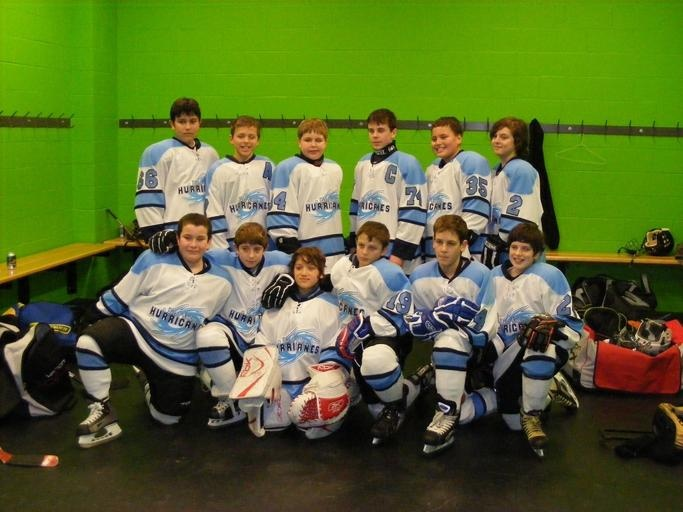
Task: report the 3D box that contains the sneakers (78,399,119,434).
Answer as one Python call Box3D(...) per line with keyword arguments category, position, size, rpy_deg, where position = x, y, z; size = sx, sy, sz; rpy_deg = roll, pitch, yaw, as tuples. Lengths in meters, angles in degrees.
Box3D(category="sneakers", position=(-1.485, 0.985, 3.774), size=(0.096, 0.165, 0.287), rpy_deg=(-10, 1, 25))

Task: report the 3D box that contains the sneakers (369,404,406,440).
Box3D(category="sneakers", position=(0.304, 1.043, 3.923), size=(0.111, 0.157, 0.342), rpy_deg=(5, 6, 18))

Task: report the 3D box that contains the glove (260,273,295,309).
Box3D(category="glove", position=(-0.455, 0.176, 4.165), size=(0.183, 0.117, 0.299), rpy_deg=(8, 53, -7))

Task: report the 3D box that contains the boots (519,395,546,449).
Box3D(category="boots", position=(1.184, 1.058, 3.822), size=(0.119, 0.213, 0.305), rpy_deg=(2, 12, 6))

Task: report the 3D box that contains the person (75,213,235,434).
Box3D(category="person", position=(-1.193, 0.490, 3.947), size=(0.980, 1.195, 0.420), rpy_deg=(-5, 13, -26))

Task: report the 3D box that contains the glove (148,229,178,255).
Box3D(category="glove", position=(-1.135, -0.092, 3.913), size=(0.128, 0.085, 0.173), rpy_deg=(-16, 10, -4))

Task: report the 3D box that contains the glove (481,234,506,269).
Box3D(category="glove", position=(1.120, -0.026, 4.529), size=(0.134, 0.244, 0.163), rpy_deg=(-6, 25, -39))

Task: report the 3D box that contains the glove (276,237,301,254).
Box3D(category="glove", position=(-0.394, -0.077, 4.594), size=(0.128, 0.097, 0.130), rpy_deg=(0, -2, 6))

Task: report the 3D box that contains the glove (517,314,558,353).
Box3D(category="glove", position=(1.213, 0.473, 3.818), size=(0.245, 0.127, 0.317), rpy_deg=(7, 41, 26))

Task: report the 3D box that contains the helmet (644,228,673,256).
Box3D(category="helmet", position=(3.073, -0.126, 6.006), size=(0.266, 0.277, 0.238), rpy_deg=(-7, -2, 19))

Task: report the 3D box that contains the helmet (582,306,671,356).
Box3D(category="helmet", position=(2.216, 0.584, 4.778), size=(0.553, 0.288, 0.329), rpy_deg=(27, 1, -40))

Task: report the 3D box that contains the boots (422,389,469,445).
Box3D(category="boots", position=(0.612, 1.021, 3.749), size=(0.120, 0.296, 0.283), rpy_deg=(8, 14, 32))

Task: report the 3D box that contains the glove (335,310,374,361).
Box3D(category="glove", position=(0.071, 0.497, 3.940), size=(0.125, 0.293, 0.191), rpy_deg=(35, 12, -39))
